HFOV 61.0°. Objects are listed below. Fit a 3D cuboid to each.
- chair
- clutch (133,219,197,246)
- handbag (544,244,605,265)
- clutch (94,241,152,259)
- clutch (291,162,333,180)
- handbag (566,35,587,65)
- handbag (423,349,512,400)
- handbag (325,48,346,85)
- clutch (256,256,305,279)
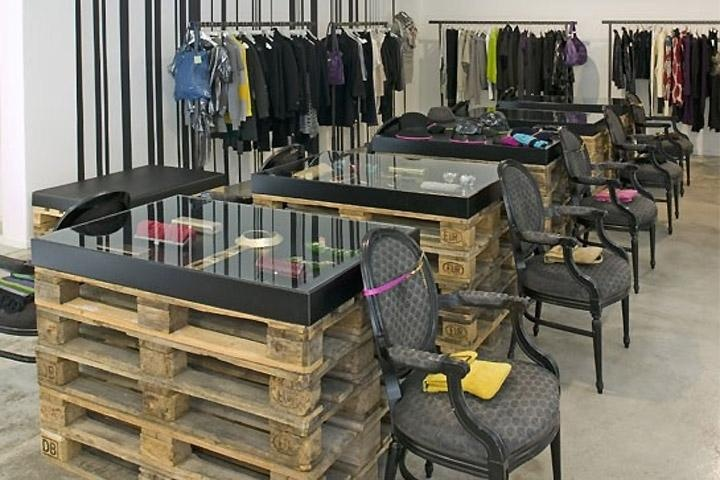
[{"bbox_3d":[2.227,-0.382,5.180,0.770,1.354,1.821,3,15,28],"label":"chair"},{"bbox_3d":[-0.912,-0.033,2.800,0.199,0.061,0.135,8,21,16],"label":"clutch"},{"bbox_3d":[1.314,0.096,3.752,0.201,0.048,0.196,4,12,30],"label":"handbag"},{"bbox_3d":[-1.053,0.046,2.709,0.176,0.037,0.074,11,17,19],"label":"clutch"},{"bbox_3d":[-0.304,-0.428,3.906,0.186,0.045,0.114,-6,21,-11],"label":"clutch"},{"bbox_3d":[3.276,-2.882,9.259,0.253,0.452,0.516,11,19,43],"label":"handbag"},{"bbox_3d":[0.488,0.589,2.610,0.254,0.081,0.255,-7,10,-21],"label":"handbag"},{"bbox_3d":[-0.307,-2.003,7.130,0.185,0.394,0.203,-3,14,-4],"label":"handbag"},{"bbox_3d":[-0.330,0.115,2.537,0.136,0.044,0.093,7,20,16],"label":"clutch"}]
